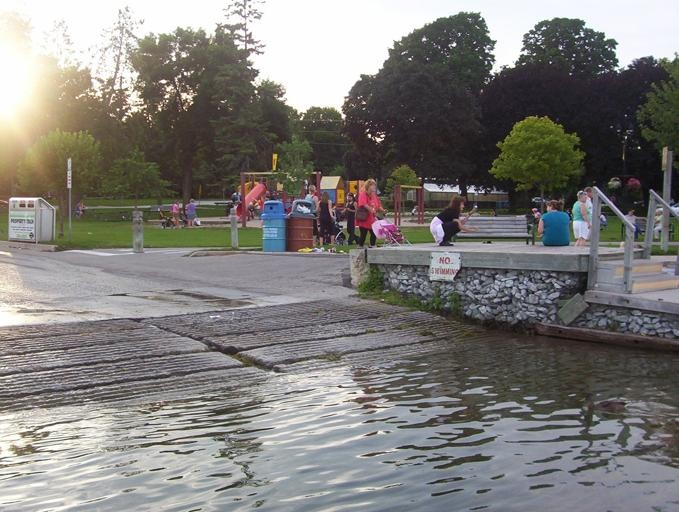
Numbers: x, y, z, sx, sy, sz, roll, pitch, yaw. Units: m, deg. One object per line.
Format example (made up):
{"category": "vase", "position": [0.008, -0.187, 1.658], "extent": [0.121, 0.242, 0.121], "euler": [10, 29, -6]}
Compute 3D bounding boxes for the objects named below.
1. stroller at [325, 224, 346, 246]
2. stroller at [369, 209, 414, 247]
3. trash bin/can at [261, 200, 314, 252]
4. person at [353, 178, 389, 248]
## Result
{"category": "stroller", "position": [-0.028, -0.745, 24.243], "extent": [0.795, 0.670, 0.622], "euler": [1, 1, 13]}
{"category": "stroller", "position": [1.269, -0.598, 17.763], "extent": [0.778, 0.714, 1.688], "euler": [2, 8, 3]}
{"category": "trash bin/can", "position": [-1.685, -0.898, 22.351], "extent": [2.288, 1.739, 1.615], "euler": [1, 8, 5]}
{"category": "person", "position": [0.909, -1.247, 19.895], "extent": [0.991, 2.037, 0.824], "euler": [1, 2, 5]}
